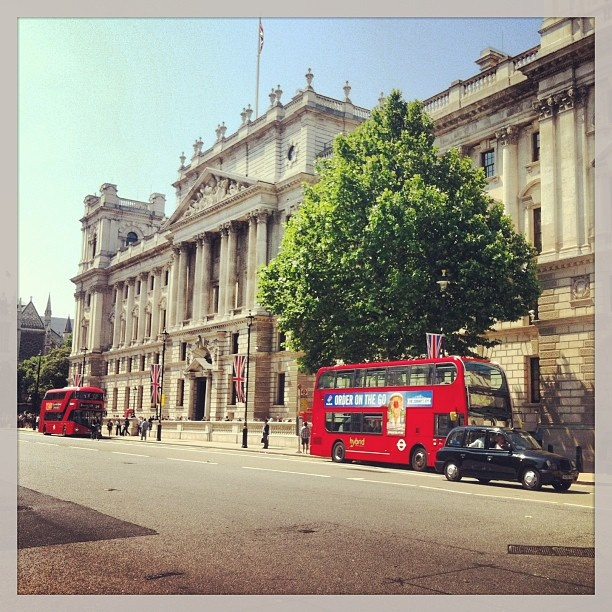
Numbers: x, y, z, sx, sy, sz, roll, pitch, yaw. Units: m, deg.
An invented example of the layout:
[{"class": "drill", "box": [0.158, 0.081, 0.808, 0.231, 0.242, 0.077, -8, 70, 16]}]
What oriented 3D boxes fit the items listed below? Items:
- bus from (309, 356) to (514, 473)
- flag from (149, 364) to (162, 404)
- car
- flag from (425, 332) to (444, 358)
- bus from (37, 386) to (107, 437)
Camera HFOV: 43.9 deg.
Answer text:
[{"class": "bus", "box": [3.607, 3.921, 26.619, 3.039, 4.193, 8.490, 9, -16, -38]}, {"class": "flag", "box": [-10.460, 5.333, 52.921, 0.699, 2.920, 3.171, 2, -13, -11]}, {"class": "car", "box": [5.139, 3.933, 19.676, 1.523, 1.598, 3.590, 10, -16, -42]}, {"class": "flag", "box": [4.241, 1.264, 24.962, 0.662, 0.872, 0.060, 10, -19, -27]}, {"class": "bus", "box": [-14.356, 6.507, 46.991, 1.879, 3.183, 6.619, 11, -17, -41]}]
